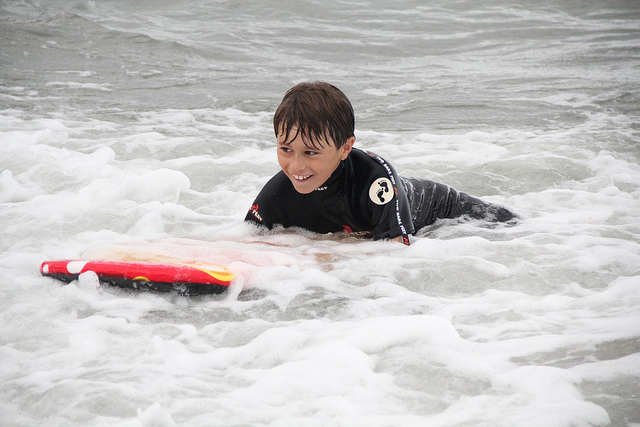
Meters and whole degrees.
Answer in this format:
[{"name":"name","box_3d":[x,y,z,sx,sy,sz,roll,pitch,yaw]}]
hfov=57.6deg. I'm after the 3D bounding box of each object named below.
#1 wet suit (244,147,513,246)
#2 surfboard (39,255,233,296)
[{"name":"wet suit","box_3d":[0.457,-0.178,5.150,2.206,0.785,0.820,1,12,-6]},{"name":"surfboard","box_3d":[-1.337,0.438,4.283,1.027,0.153,0.478,6,-1,3]}]
